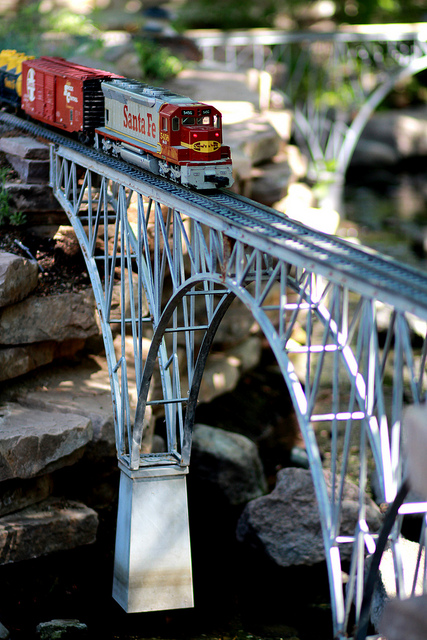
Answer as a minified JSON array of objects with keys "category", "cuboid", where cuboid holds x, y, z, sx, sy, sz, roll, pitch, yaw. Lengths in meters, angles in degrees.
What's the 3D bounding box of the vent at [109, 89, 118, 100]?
[{"category":"vent","cuboid":[-2.284,-5.129,17.883,0.086,0.249,0.367,-10,30,-24]}]
